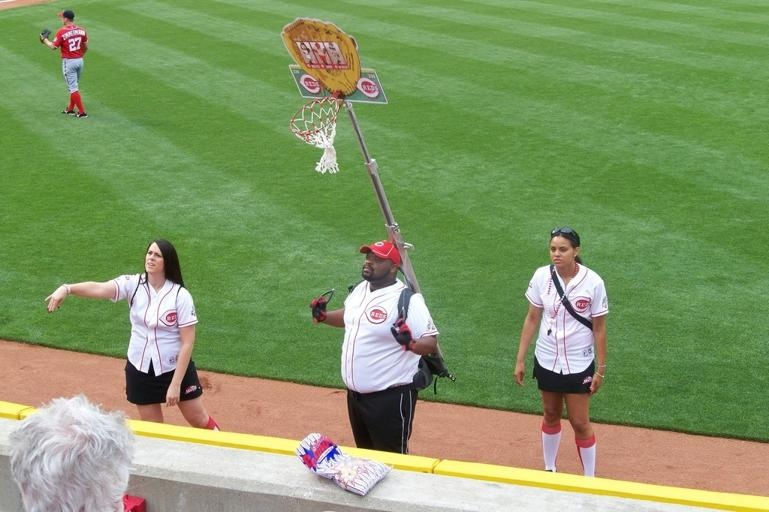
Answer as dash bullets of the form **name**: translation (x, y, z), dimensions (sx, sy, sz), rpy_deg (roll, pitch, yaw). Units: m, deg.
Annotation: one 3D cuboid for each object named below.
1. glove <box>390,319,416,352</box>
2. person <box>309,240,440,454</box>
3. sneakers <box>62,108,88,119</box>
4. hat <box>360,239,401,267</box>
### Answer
- **glove**: translation (0.153, 0.720, 8.784), dimensions (0.191, 0.289, 0.097), rpy_deg (-31, 5, 1)
- **person**: translation (-0.042, 0.877, 9.211), dimensions (1.036, 2.010, 0.602), rpy_deg (7, 16, 12)
- **sneakers**: translation (-5.708, -2.621, 17.534), dimensions (0.501, 0.156, 0.160), rpy_deg (9, 10, 5)
- **hat**: translation (-0.043, -0.056, 9.186), dimensions (0.355, 0.176, 0.234), rpy_deg (24, -1, -19)
